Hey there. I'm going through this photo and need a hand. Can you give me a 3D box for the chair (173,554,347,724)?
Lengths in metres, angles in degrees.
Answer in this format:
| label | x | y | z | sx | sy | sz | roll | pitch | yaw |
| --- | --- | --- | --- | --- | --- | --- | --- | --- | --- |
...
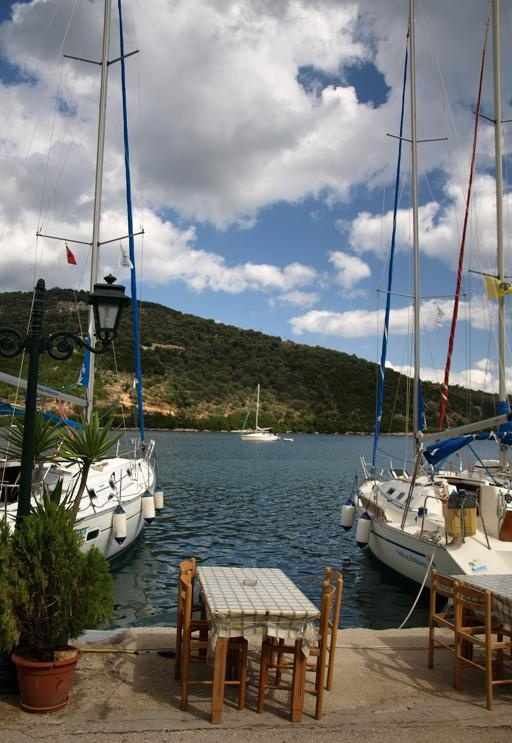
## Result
| label | x | y | z | sx | sy | sz | roll | pitch | yaw |
| --- | --- | --- | --- | --- | --- | --- | --- | --- | --- |
| chair | 0.008 | 2.163 | 5.190 | 1.300 | 0.701 | 1.386 | 4 | -2 | -8 |
